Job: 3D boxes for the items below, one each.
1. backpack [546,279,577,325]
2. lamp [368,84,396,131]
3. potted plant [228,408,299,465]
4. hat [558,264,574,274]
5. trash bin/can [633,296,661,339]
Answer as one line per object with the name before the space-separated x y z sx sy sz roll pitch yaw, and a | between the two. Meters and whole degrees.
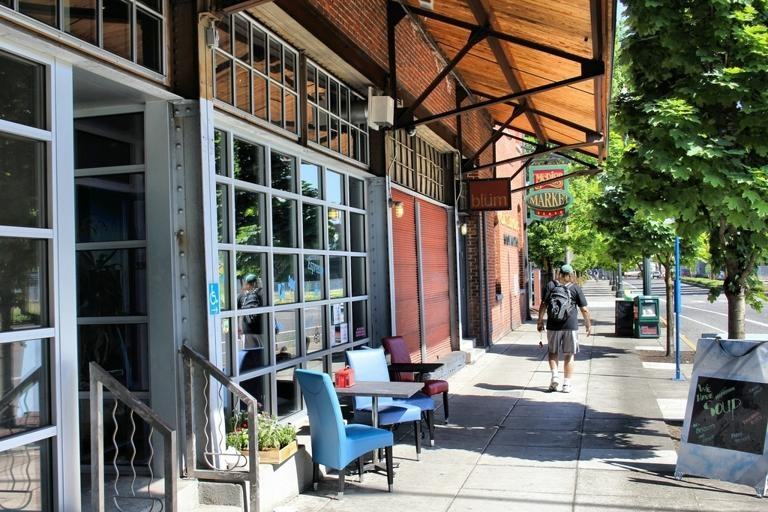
backpack | 3.133 0.829 12.138 0.460 0.757 0.299 -4 -3 14
lamp | -0.049 -2.406 11.156 0.346 0.631 0.516 -4 -3 18
potted plant | -1.353 1.970 7.524 0.590 0.200 0.564 -1 -1 19
hat | 3.343 0.279 12.589 0.244 0.176 0.358 3 12 34
trash bin/can | 7.779 1.807 20.320 0.701 1.255 0.600 -4 -3 16
